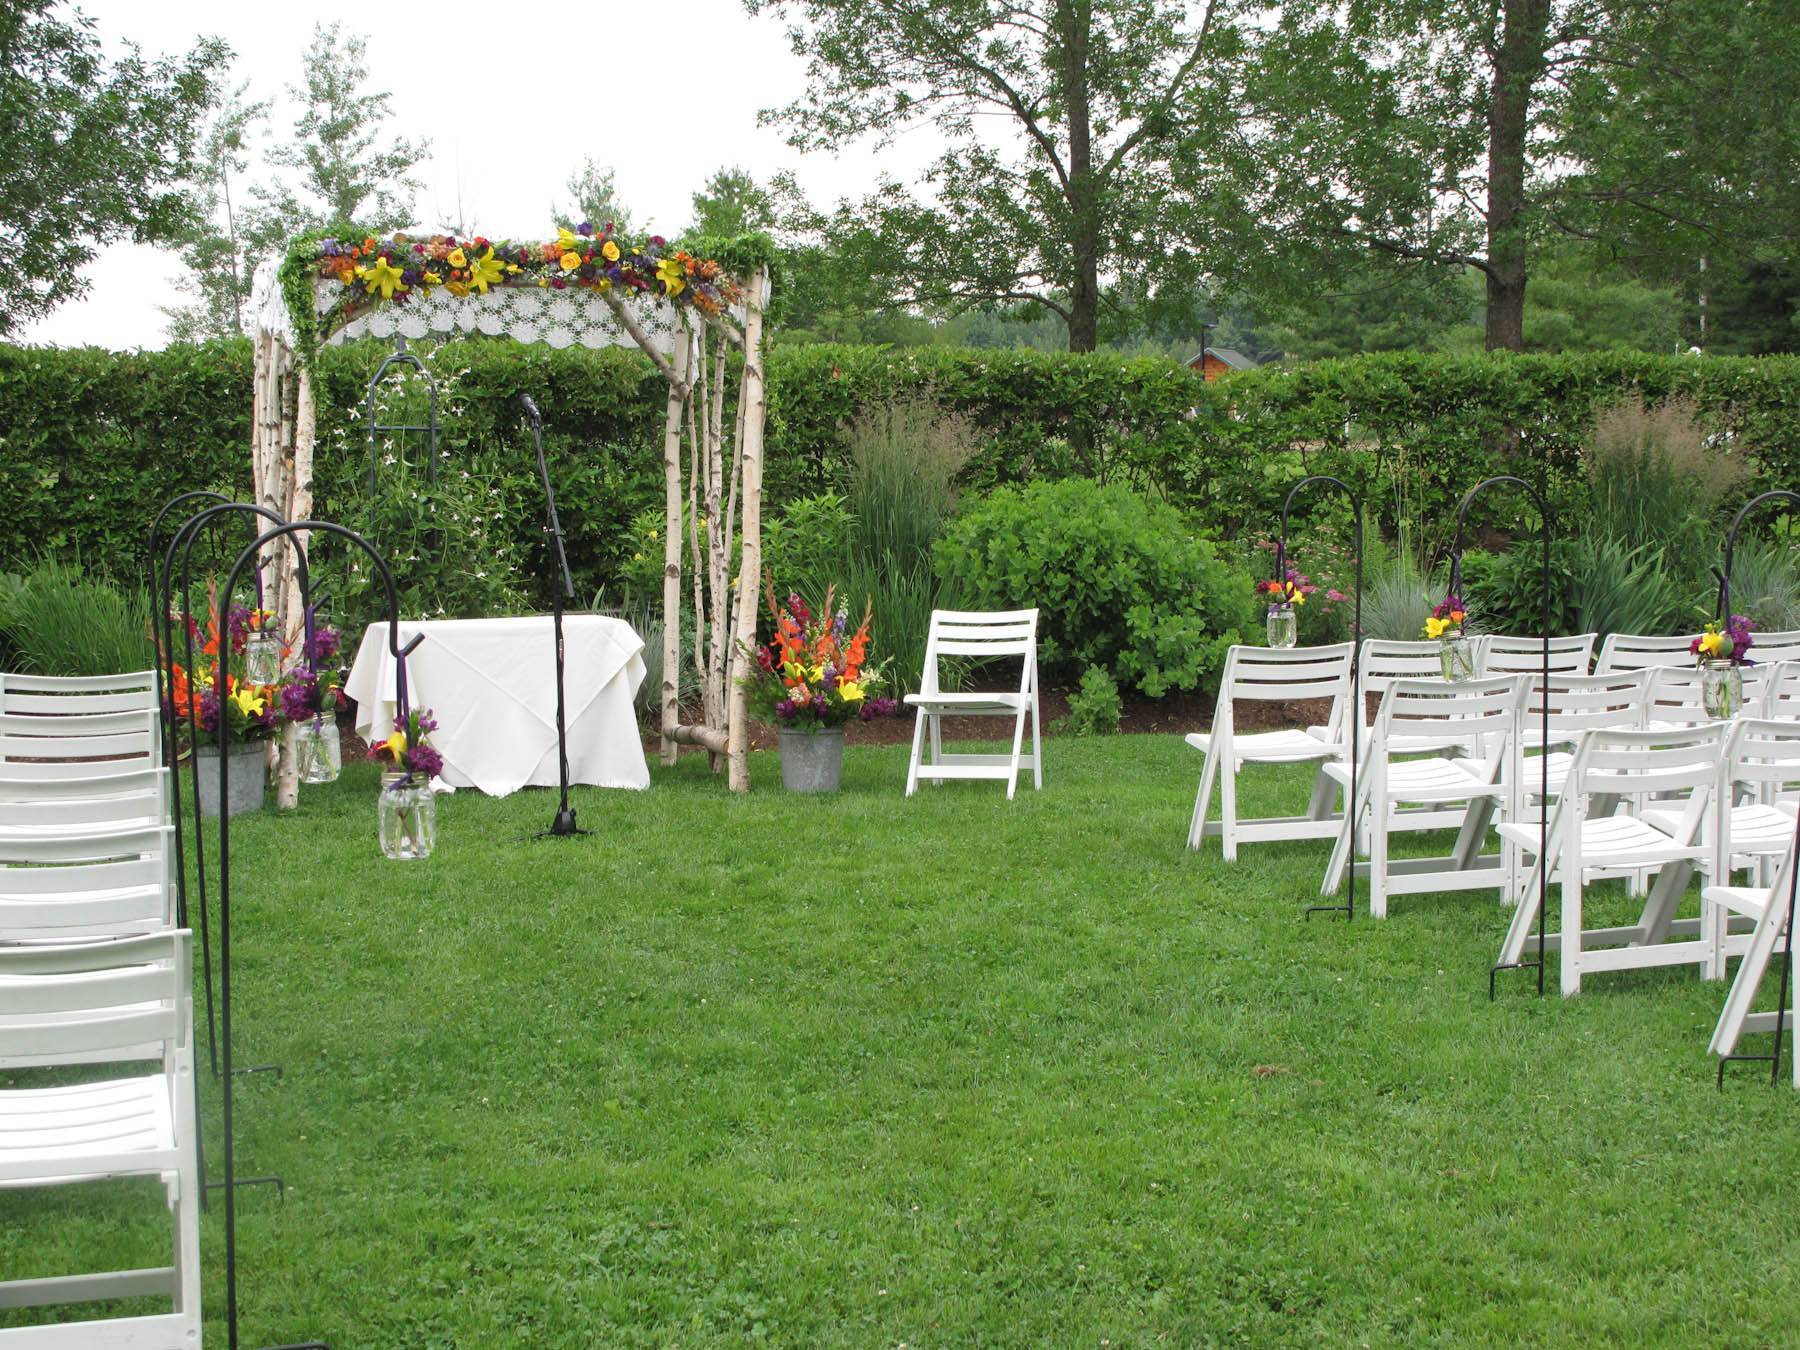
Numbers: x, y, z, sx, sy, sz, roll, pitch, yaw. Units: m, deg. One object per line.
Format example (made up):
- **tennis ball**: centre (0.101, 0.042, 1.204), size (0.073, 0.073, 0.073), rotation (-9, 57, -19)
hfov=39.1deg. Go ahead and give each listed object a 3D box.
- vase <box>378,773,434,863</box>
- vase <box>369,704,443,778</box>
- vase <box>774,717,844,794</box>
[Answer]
- **vase**: centre (-3.057, 0.876, 15.718), size (0.448, 0.712, 0.437), rotation (0, -4, -6)
- **vase**: centre (-2.990, 0.444, 15.532), size (0.433, 0.434, 0.443), rotation (-1, -10, -36)
- **vase**: centre (-0.626, 0.569, 17.771), size (0.380, 0.372, 0.454), rotation (1, -4, -2)
